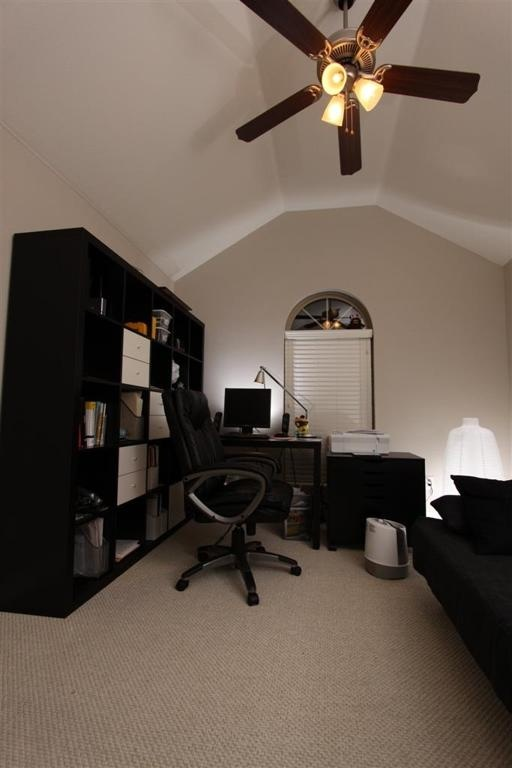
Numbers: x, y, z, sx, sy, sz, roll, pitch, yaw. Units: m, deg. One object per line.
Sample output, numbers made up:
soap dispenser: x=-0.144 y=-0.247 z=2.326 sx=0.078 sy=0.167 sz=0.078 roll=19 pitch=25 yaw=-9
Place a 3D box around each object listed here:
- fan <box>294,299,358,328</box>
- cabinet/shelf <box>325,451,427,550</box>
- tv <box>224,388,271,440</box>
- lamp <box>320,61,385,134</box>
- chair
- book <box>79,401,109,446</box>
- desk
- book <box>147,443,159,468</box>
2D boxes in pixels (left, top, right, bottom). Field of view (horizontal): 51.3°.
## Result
fan: x=0.605 y=-0.571 z=4.445 sx=0.369 sy=0.148 sz=0.290 roll=1 pitch=1 yaw=7
cabinet/shelf: x=0.713 y=0.666 z=3.529 sx=0.671 sy=0.732 sz=0.515 roll=-1 pitch=-7 yaw=3
tv: x=-0.065 y=0.208 z=3.988 sx=0.320 sy=0.355 sz=0.109 roll=0 pitch=-7 yaw=8
lamp: x=0.377 y=-1.224 z=2.276 sx=0.202 sy=0.231 sz=0.073 roll=3 pitch=-34 yaw=-23
chair: x=-0.169 y=0.511 z=3.071 sx=0.820 sy=1.290 sz=0.960 roll=-1 pitch=-2 yaw=8
book: x=-0.792 y=0.187 z=2.575 sx=0.075 sy=0.216 sz=0.209 roll=0 pitch=-4 yaw=5
desk: x=0.104 y=0.659 z=3.229 sx=0.634 sy=0.585 sz=0.244 roll=-1 pitch=-6 yaw=9
book: x=-0.621 y=0.438 z=3.233 sx=0.098 sy=0.112 sz=0.113 roll=0 pitch=-2 yaw=3
